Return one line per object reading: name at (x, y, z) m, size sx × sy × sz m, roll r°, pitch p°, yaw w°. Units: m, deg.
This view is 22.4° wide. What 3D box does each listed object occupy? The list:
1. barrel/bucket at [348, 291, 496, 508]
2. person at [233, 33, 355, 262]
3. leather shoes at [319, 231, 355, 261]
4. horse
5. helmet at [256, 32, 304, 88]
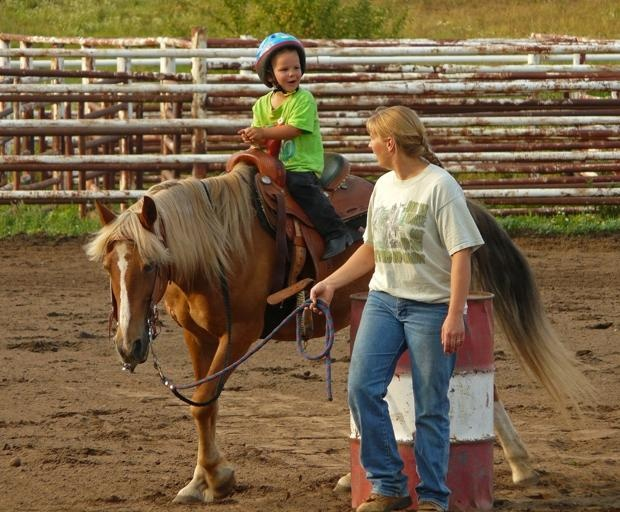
barrel/bucket at (1.325, 1.348, 14.796) m, size 1.519 × 2.580 × 1.667 m, roll 0°, pitch -2°, yaw 0°
person at (-0.156, -1.010, 14.869) m, size 0.874 × 2.287 × 0.906 m, roll 3°, pitch 12°, yaw 41°
leather shoes at (0.296, -0.129, 14.900) m, size 0.159 × 0.142 × 0.493 m, roll 15°, pitch 45°, yaw 38°
horse at (0.135, 0.686, 15.878) m, size 5.397 × 3.229 × 1.349 m, roll -12°, pitch 3°, yaw -43°
helmet at (-0.304, -1.948, 14.939) m, size 0.364 × 0.577 × 0.444 m, roll -2°, pitch 21°, yaw -13°
